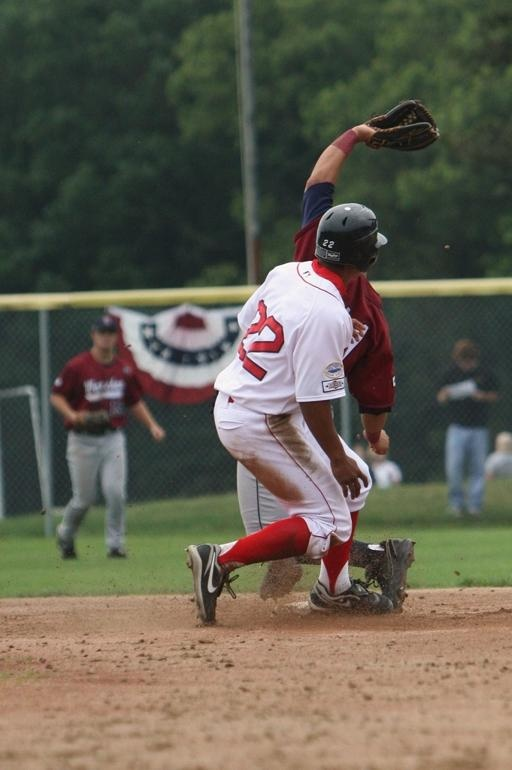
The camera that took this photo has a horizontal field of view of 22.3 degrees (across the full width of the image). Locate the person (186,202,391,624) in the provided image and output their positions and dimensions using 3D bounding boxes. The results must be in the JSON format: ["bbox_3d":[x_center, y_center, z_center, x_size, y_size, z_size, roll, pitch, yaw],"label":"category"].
[{"bbox_3d":[0.122,0.121,4.925,0.712,1.590,0.655,-1,2,29],"label":"person"}]

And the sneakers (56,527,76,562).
[{"bbox_3d":[-0.999,0.833,6.833,0.089,0.097,0.297,-15,-33,-13],"label":"sneakers"}]

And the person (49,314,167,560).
[{"bbox_3d":[-0.834,0.283,6.918,0.490,1.313,0.580,-2,2,-10],"label":"person"}]

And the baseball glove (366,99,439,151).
[{"bbox_3d":[0.640,-1.157,5.736,0.284,0.129,0.214,-5,-34,-16],"label":"baseball glove"}]

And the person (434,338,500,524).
[{"bbox_3d":[1.567,0.277,9.660,0.452,1.255,0.615,-1,2,9],"label":"person"}]

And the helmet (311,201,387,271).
[{"bbox_3d":[0.337,-0.559,4.819,0.189,0.205,0.271,13,24,30],"label":"helmet"}]
